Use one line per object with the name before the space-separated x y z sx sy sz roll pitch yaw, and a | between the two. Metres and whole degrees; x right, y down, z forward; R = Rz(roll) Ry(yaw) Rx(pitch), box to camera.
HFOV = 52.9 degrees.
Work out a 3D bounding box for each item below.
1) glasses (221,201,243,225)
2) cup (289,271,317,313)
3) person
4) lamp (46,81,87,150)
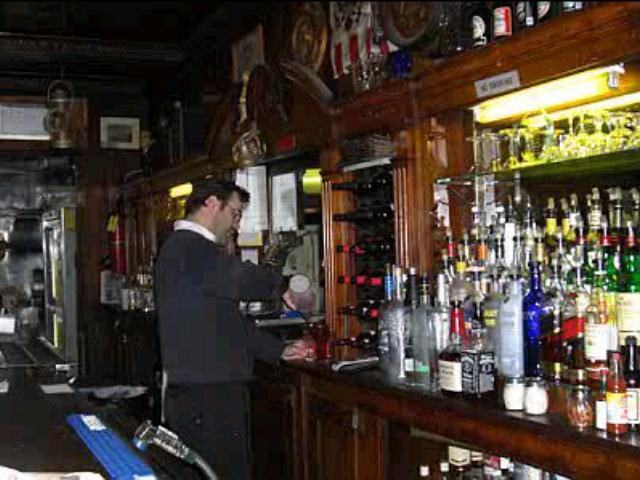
glasses | -0.356 -0.116 2.637 0.030 0.091 0.089 5 -22 -25
cup | -0.102 0.265 3.401 0.151 0.153 0.252 23 7 1
person | -0.395 0.347 2.560 0.504 1.213 0.271 0 -4 -18
lamp | -0.543 -0.280 1.383 0.074 0.160 0.131 0 -4 -22
